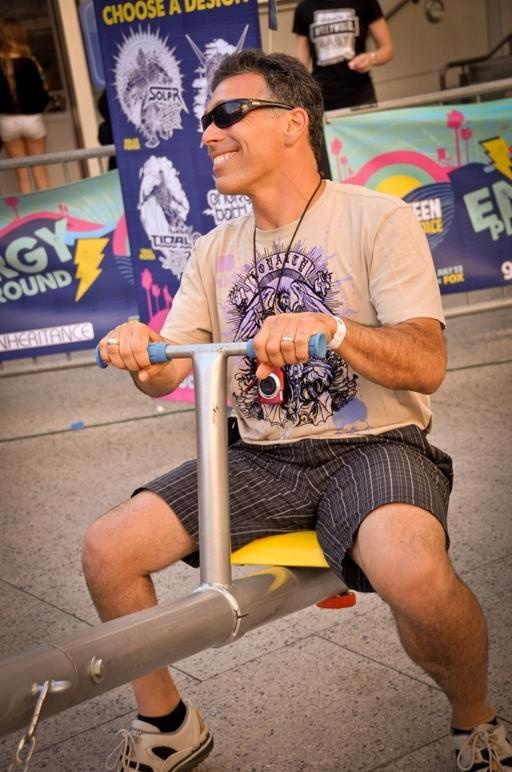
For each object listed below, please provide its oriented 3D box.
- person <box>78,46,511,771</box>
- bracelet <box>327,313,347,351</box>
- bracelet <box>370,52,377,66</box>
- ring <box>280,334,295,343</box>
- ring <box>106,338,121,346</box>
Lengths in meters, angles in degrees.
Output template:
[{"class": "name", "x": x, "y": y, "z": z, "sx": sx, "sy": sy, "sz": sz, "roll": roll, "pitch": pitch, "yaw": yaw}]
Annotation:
[{"class": "person", "x": 0.088, "y": 0.011, "z": 1.327, "sx": 0.945, "sy": 1.132, "sz": 0.701, "roll": 4, "pitch": 2, "yaw": 36}, {"class": "bracelet", "x": 0.148, "y": -0.092, "z": 1.077, "sx": 0.021, "sy": 0.052, "sz": 0.040, "roll": 7, "pitch": 15, "yaw": -23}, {"class": "bracelet", "x": 0.912, "y": -2.514, "z": 4.608, "sx": 0.038, "sy": 0.102, "sz": 0.078, "roll": 1, "pitch": -10, "yaw": -4}, {"class": "ring", "x": 0.049, "y": -0.074, "z": 0.949, "sx": 0.020, "sy": 0.011, "sz": 0.012, "roll": 3, "pitch": 2, "yaw": 6}, {"class": "ring", "x": -0.285, "y": -0.087, "z": 1.185, "sx": 0.023, "sy": 0.014, "sz": 0.011, "roll": 2, "pitch": 2, "yaw": -10}]
